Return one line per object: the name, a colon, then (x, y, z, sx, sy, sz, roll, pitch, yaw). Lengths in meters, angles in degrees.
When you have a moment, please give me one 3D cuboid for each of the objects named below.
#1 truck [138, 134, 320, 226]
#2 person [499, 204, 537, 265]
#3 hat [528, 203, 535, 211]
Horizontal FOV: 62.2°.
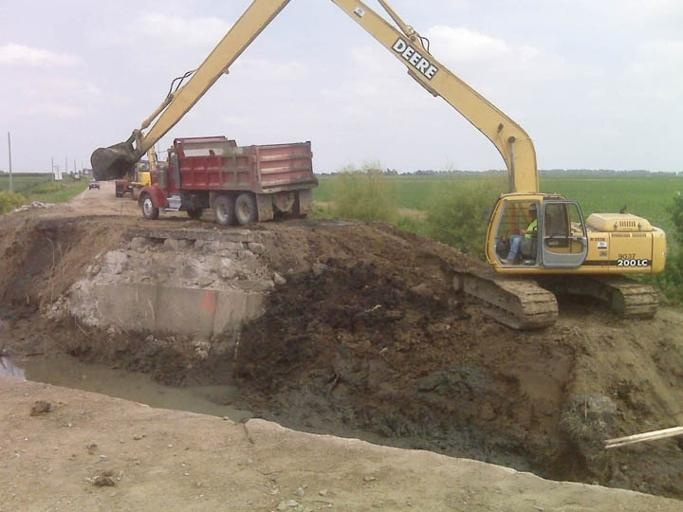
truck: (-4.023, -2.673, 19.275, 6.302, 3.157, 3.175, 10, 15, 35)
person: (3.837, -0.485, 12.079, 0.654, 1.293, 0.464, 4, 8, 19)
hat: (4.046, -1.057, 12.002, 0.137, 0.152, 0.034, 3, 3, 43)
